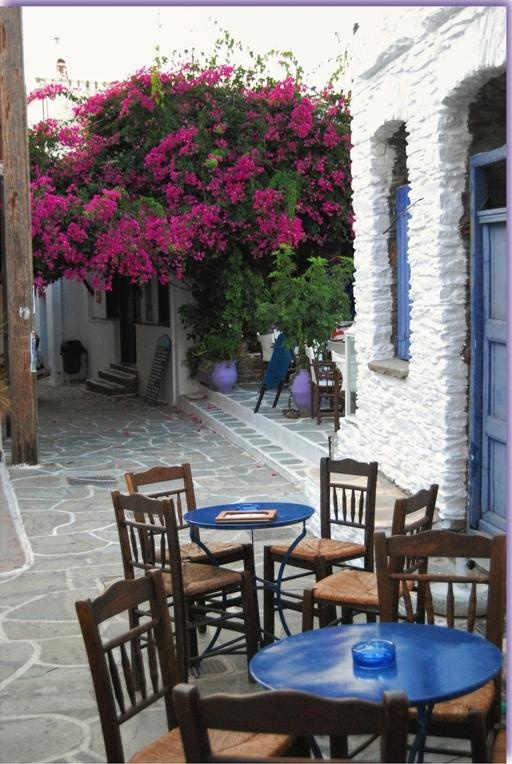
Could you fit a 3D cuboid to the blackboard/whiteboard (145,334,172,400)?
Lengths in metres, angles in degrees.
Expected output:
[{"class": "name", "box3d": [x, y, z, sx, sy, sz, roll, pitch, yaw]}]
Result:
[{"class": "blackboard/whiteboard", "box3d": [-1.914, -0.246, 14.747, 0.387, 1.479, 0.063, 7, -7, 37]}]

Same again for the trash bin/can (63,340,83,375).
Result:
[{"class": "trash bin/can", "box3d": [-4.652, -0.632, 19.506, 0.625, 0.909, 0.393, -5, 5, -20]}]

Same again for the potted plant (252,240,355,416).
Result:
[{"class": "potted plant", "box3d": [0.775, -0.920, 12.046, 1.502, 2.513, 3.440, -2, 5, 8]}]

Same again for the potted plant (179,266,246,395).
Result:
[{"class": "potted plant", "box3d": [-0.767, -0.990, 13.577, 0.639, 2.156, 1.578, -6, 6, -33]}]
